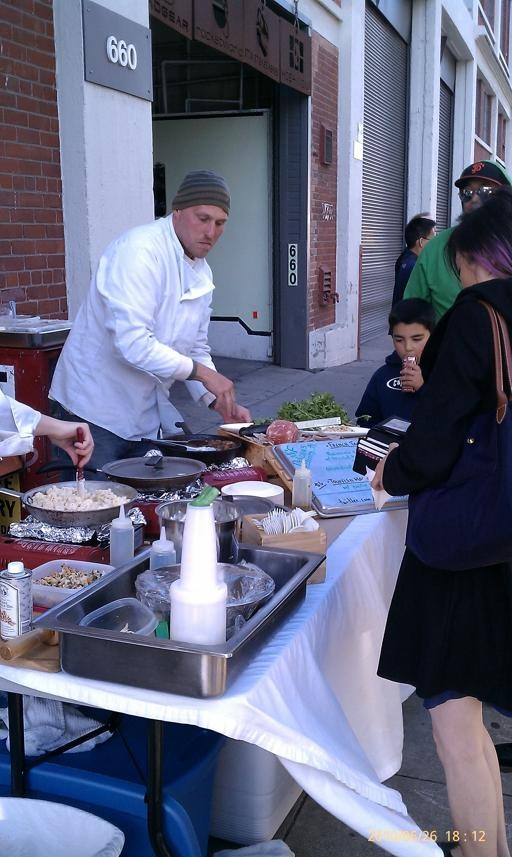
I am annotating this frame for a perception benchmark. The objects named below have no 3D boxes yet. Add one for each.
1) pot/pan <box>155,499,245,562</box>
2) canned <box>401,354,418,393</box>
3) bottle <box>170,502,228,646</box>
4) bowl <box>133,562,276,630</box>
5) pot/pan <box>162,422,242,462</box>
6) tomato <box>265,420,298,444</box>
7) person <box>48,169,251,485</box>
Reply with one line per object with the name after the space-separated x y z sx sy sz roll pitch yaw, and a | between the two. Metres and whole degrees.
-0.119 0.206 1.409 0.152 0.111 0.159 1 5 4 | pot/pan
0.698 -0.249 3.039 0.100 0.151 0.036 -3 -7 39 | canned
-0.087 0.222 1.076 0.096 0.203 0.096 1 8 0 | bottle
-0.087 0.287 1.130 0.153 0.065 0.153 0 1 0 | bowl
-0.245 0.059 2.380 0.239 0.118 0.274 11 14 35 | pot/pan
0.107 0.012 2.654 0.091 0.067 0.095 -7 14 -14 | tomato
-0.418 -0.408 2.889 0.730 1.348 0.750 -11 22 -39 | person
